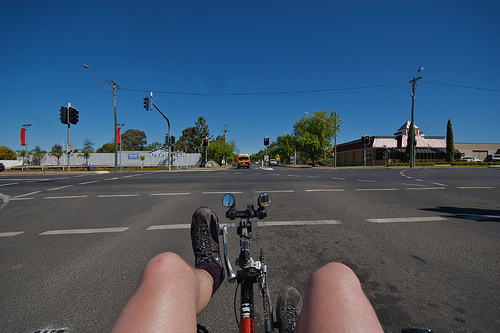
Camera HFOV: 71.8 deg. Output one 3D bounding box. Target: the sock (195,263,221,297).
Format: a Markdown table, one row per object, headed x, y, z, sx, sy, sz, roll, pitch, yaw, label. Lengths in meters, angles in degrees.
| x | y | z | sx | sy | sz | roll | pitch | yaw | label |
| --- | --- | --- | --- | --- | --- | --- | --- | --- | --- |
| -0.488 | 1.336 | 4.224 | 0.163 | 0.216 | 0.491 | -6 | 16 | -7 | sock |

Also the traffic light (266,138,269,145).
| x | y | z | sx | sy | sz | roll | pitch | yaw | label |
| --- | --- | --- | --- | --- | --- | --- | --- | --- | --- |
| 2.003 | -2.915 | 42.078 | 0.284 | 0.783 | 0.694 | 1 | 2 | -9 | traffic light |

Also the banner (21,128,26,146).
| x | y | z | sx | sy | sz | roll | pitch | yaw | label |
| --- | --- | --- | --- | --- | --- | --- | --- | --- | --- |
| -29.868 | -3.740 | 45.392 | 0.348 | 2.021 | 0.625 | 0 | 3 | -26 | banner |

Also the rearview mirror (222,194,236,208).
| x | y | z | sx | sy | sz | roll | pitch | yaw | label |
| --- | --- | --- | --- | --- | --- | --- | --- | --- | --- |
| -0.313 | 0.467 | 4.629 | 0.138 | 0.180 | 0.035 | 6 | -3 | 28 | rearview mirror |

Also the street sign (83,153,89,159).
| x | y | z | sx | sy | sz | roll | pitch | yaw | label |
| --- | --- | --- | --- | --- | --- | --- | --- | --- | --- |
| -29.797 | -1.580 | 62.777 | 0.653 | 0.671 | 0.490 | 0 | -14 | -7 | street sign |

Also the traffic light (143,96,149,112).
| x | y | z | sx | sy | sz | roll | pitch | yaw | label |
| --- | --- | --- | --- | --- | --- | --- | --- | --- | --- |
| -6.970 | -4.175 | 23.235 | 0.295 | 0.862 | 1.284 | 1 | 3 | -17 | traffic light |

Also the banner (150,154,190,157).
| x | y | z | sx | sy | sz | roll | pitch | yaw | label |
| --- | --- | --- | --- | --- | --- | --- | --- | --- | --- |
| -15.756 | -1.994 | 67.827 | 7.333 | 0.808 | 2.395 | 2 | 3 | 13 | banner |

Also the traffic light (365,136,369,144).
| x | y | z | sx | sy | sz | roll | pitch | yaw | label |
| --- | --- | --- | --- | --- | --- | --- | --- | --- | --- |
| 11.836 | -2.614 | 35.315 | 0.327 | 0.697 | 0.430 | 3 | 3 | 35 | traffic light |

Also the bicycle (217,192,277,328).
| x | y | z | sx | sy | sz | roll | pitch | yaw | label |
| --- | --- | --- | --- | --- | --- | --- | --- | --- | --- |
| -0.101 | 1.165 | 4.696 | 0.679 | 0.867 | 1.989 | -2 | 24 | 3 | bicycle |
